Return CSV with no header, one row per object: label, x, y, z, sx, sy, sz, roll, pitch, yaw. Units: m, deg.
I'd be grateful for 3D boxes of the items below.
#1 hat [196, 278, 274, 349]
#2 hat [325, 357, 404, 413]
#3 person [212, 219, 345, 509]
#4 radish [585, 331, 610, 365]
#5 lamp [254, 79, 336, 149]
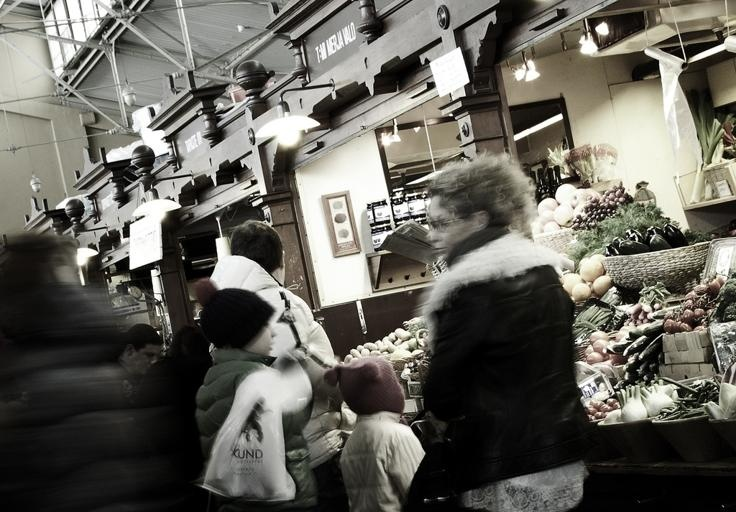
hat,-0.569,0.215,2.274,0.214,0.281,0.243,-2,3,-24
hat,0.003,0.587,2.594,0.328,0.276,0.239,-17,4,11
person,-0.444,0.510,2.763,0.466,1.461,0.858,-12,-1,23
radish,1.334,0.526,3.173,0.088,0.196,0.108,29,-32,-11
lamp,-0.654,-1.355,4.910,0.885,0.604,0.622,-3,-2,-33
